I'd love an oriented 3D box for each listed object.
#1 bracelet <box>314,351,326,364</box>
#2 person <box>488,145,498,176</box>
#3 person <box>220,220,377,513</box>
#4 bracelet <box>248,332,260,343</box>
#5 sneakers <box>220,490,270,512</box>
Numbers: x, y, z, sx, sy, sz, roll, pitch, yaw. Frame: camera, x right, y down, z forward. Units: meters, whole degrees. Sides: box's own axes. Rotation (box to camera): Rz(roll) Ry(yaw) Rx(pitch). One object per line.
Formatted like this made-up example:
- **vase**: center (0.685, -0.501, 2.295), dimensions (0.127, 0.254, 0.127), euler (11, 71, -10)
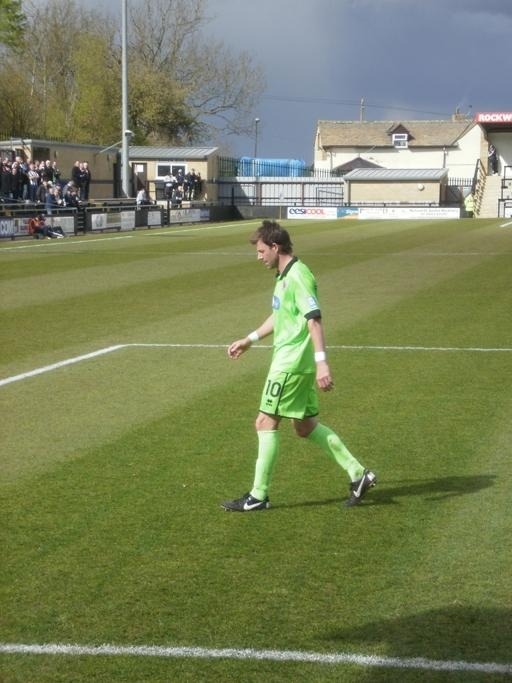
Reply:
- **bracelet**: center (0.307, 0.072, 5.622), dimensions (0.046, 0.038, 0.048), euler (4, -2, -2)
- **person**: center (12.910, -9.814, 64.417), dimensions (0.581, 1.507, 1.612), euler (2, 7, 11)
- **person**: center (0.214, 0.133, 5.946), dimensions (0.733, 1.449, 0.785), euler (1, 7, 0)
- **bracelet**: center (-0.013, -0.016, 6.302), dimensions (0.047, 0.042, 0.047), euler (-1, 2, -38)
- **sneakers**: center (-0.059, 0.800, 5.955), dimensions (0.244, 0.112, 0.091), euler (2, -10, -2)
